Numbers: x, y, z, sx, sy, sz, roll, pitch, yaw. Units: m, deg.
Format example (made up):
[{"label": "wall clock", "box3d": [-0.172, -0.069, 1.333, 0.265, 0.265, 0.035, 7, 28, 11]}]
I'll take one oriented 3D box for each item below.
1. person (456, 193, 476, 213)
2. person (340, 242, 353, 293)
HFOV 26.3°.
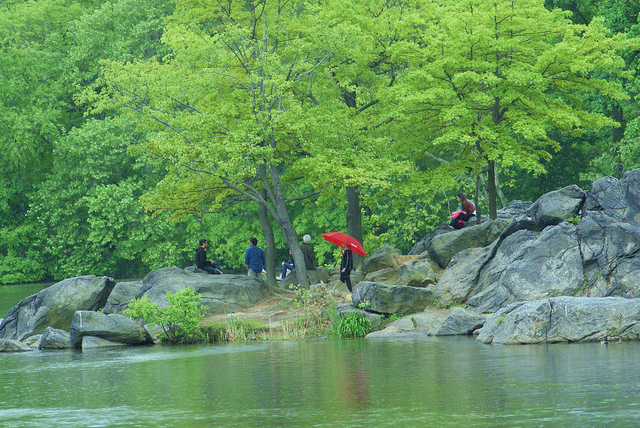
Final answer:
[{"label": "person", "box3d": [7.621, -0.462, 72.155, 0.757, 1.100, 1.702, -5, 3, 10]}, {"label": "person", "box3d": [1.304, 2.729, 70.405, 0.620, 2.540, 1.144, -6, 4, -5]}]
